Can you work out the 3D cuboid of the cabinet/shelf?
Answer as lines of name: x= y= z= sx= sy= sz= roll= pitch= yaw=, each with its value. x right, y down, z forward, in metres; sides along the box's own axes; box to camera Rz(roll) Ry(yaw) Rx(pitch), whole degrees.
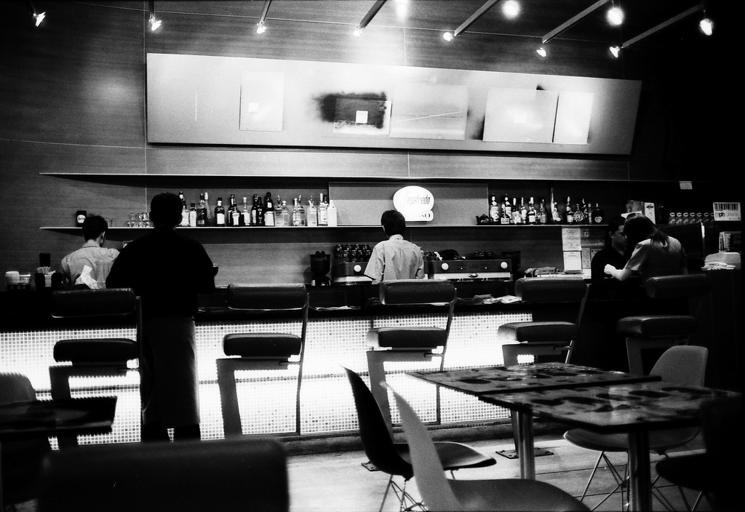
cabinet/shelf: x=0.258 y=-0.483 z=6.910 sx=7.249 sy=0.711 sz=0.589 roll=-2 pitch=17 yaw=-11

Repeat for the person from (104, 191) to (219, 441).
person: x=-1.290 y=0.380 z=3.960 sx=0.631 sy=1.556 sz=0.369 roll=-4 pitch=2 yaw=-28
